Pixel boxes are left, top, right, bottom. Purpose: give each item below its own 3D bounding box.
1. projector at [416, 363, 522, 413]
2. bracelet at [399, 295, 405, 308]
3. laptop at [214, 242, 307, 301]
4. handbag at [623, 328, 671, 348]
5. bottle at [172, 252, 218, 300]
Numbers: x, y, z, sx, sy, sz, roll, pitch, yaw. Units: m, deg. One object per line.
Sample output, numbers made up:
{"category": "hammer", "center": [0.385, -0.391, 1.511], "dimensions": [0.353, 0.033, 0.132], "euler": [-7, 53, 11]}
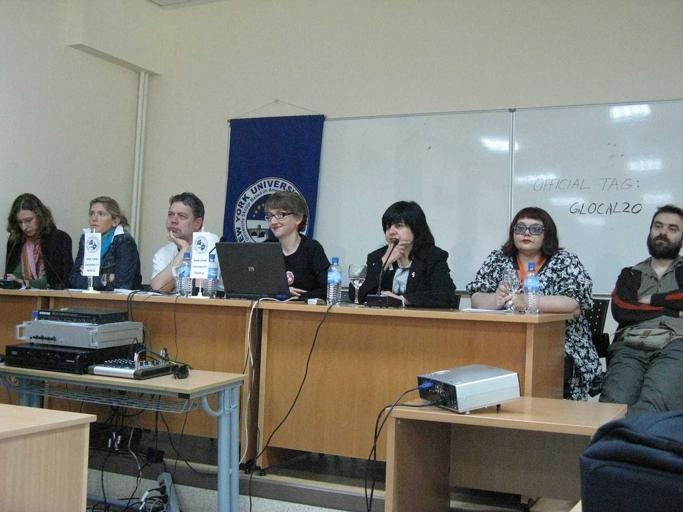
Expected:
{"category": "projector", "center": [0.474, 0.425, 2.059], "dimensions": [0.241, 0.128, 0.180], "euler": [-6, 5, -31]}
{"category": "bracelet", "center": [0.297, 0.230, 2.859], "dimensions": [0.028, 0.027, 0.090], "euler": [16, 6, 8]}
{"category": "laptop", "center": [-0.461, 0.078, 2.980], "dimensions": [0.349, 0.292, 0.284], "euler": [-2, 0, 19]}
{"category": "handbag", "center": [1.645, 0.451, 3.110], "dimensions": [0.240, 0.113, 0.071], "euler": [1, -2, 30]}
{"category": "bottle", "center": [-0.830, 0.124, 3.293], "dimensions": [0.305, 0.338, 0.186], "euler": [2, -1, 11]}
